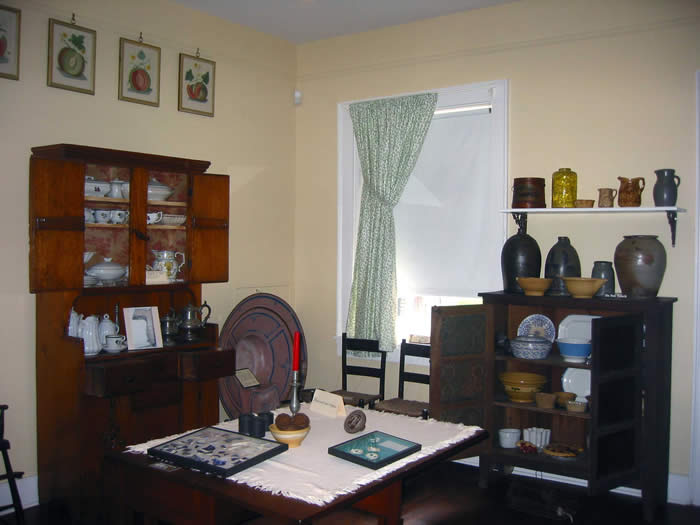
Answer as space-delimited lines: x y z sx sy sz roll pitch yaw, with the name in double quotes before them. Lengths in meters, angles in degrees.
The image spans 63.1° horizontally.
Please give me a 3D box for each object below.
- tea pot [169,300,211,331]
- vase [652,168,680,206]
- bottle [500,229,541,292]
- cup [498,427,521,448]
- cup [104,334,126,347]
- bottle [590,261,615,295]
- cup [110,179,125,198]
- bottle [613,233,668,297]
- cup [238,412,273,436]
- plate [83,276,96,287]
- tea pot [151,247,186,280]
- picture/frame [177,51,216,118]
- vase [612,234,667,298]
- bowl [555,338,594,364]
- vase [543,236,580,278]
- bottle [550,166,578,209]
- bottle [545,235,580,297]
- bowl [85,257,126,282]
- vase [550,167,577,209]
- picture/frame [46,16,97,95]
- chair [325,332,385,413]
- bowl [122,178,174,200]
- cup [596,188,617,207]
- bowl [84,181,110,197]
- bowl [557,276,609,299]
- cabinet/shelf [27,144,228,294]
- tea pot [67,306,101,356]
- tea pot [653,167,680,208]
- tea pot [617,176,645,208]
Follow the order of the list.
"tea pot" -1.250 0.416 4.479 0.289 0.221 0.215 0 1 0
"vase" 2.282 -0.533 4.072 0.241 0.257 0.147 -5 10 -24
"bottle" 1.334 -0.029 4.463 0.308 0.534 0.320 -3 4 0
"cup" 1.212 1.345 4.376 0.138 0.109 0.132 -2 -12 0
"cup" -1.632 0.547 3.970 0.098 0.065 0.072 6 -6 -18
"bottle" 1.874 0.117 4.226 0.165 0.265 0.155 -4 9 1
"cup" -1.671 -0.529 4.114 0.114 0.162 0.122 1 2 0
"bottle" 2.113 0.010 4.109 0.339 0.441 0.345 -1 6 0
"cup" -0.460 0.788 2.818 0.150 0.104 0.091 2 2 13
"plate" -1.818 0.135 3.988 0.060 0.058 0.063 0 -4 6
"tea pot" -1.388 0.010 4.357 0.156 0.266 0.272 -5 -7 37
"picture/frame" -1.323 -1.526 4.917 0.079 0.508 0.390 6 11 34
"vase" 2.111 0.012 4.106 0.331 0.440 0.344 1 6 14
"bowl" 1.603 0.631 4.054 0.154 0.108 0.161 2 -12 0
"vase" 1.611 -0.018 4.365 0.237 0.373 0.227 -5 13 -2
"bottle" 1.629 -0.567 4.366 0.203 0.332 0.201 -1 6 0
"bottle" 1.616 0.015 4.365 0.302 0.427 0.312 3 3 0
"bowl" -1.744 0.002 4.064 0.255 0.112 0.154 -1 4 -41
"vase" 1.625 -0.565 4.325 0.178 0.294 0.275 2 10 17
"picture/frame" -2.033 -1.497 4.165 0.049 0.504 0.373 7 12 40
"chair" 0.029 1.100 4.853 0.449 0.854 0.473 1 8 21
"bowl" -1.498 -0.534 4.180 0.187 0.114 0.222 -1 1 -29
"cup" 1.884 -0.473 4.212 0.168 0.174 0.126 2 1 22
"bowl" -1.786 -0.522 4.034 0.186 0.129 0.102 -3 12 -38
"bowl" 1.683 0.179 4.110 0.274 0.154 0.181 3 10 23
"cabinet/shelf" -1.585 -0.302 4.169 1.337 0.965 0.378 -3 8 -41
"tea pot" -1.901 0.481 3.899 0.201 0.308 0.287 1 -1 23
"tea pot" 2.268 -0.526 4.098 0.181 0.267 0.176 3 -4 0
"tea pot" 2.017 -0.503 4.114 0.238 0.271 0.182 2 0 26
